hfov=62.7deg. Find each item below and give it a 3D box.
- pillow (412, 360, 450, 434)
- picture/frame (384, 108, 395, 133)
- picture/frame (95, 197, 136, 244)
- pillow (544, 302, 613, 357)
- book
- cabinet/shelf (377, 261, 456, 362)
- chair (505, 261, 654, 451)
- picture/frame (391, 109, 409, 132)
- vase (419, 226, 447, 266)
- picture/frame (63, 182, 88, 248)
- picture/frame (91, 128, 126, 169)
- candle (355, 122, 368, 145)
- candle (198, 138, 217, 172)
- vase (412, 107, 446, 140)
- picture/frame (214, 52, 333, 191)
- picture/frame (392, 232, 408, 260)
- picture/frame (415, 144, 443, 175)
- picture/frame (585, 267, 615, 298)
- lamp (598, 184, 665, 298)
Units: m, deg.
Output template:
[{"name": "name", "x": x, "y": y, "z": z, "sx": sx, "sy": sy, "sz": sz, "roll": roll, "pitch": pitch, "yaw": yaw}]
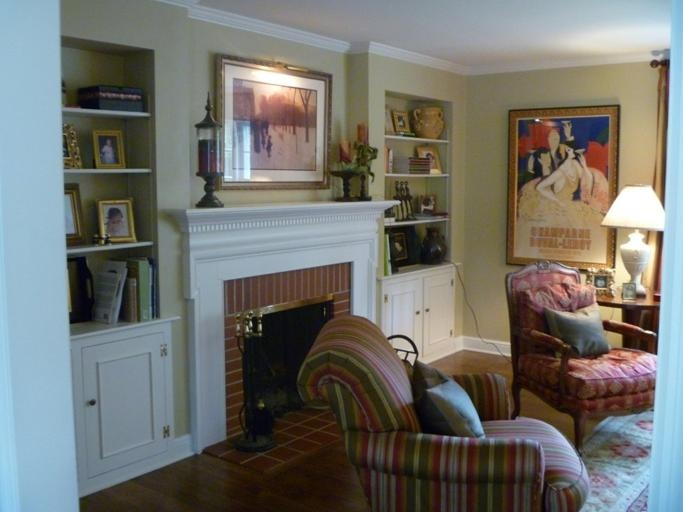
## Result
[{"name": "pillow", "x": 0.428, "y": 0.693, "z": 2.696, "sx": 0.099, "sy": 0.204, "sz": 0.296, "roll": -1, "pitch": 8, "yaw": 12}, {"name": "picture/frame", "x": 0.458, "y": -1.320, "z": 5.335, "sx": 0.022, "sy": 0.305, "sz": 0.263, "roll": -4, "pitch": 5, "yaw": 23}, {"name": "picture/frame", "x": -1.400, "y": -0.223, "z": 3.443, "sx": 0.025, "sy": 0.217, "sz": 0.253, "roll": -3, "pitch": 9, "yaw": 26}, {"name": "pillow", "x": 1.795, "y": 0.558, "z": 4.149, "sx": 0.454, "sy": 0.398, "sz": 0.215, "roll": -3, "pitch": -9, "yaw": -16}, {"name": "book", "x": -1.409, "y": 0.121, "z": 3.590, "sx": 0.338, "sy": 0.508, "sz": 0.489, "roll": -1, "pitch": 4, "yaw": -43}, {"name": "cabinet/shelf", "x": 0.903, "y": 0.648, "z": 5.754, "sx": 0.358, "sy": 0.962, "sz": 1.030, "roll": 20, "pitch": -28, "yaw": -37}, {"name": "chair", "x": 1.775, "y": 0.674, "z": 4.100, "sx": 0.832, "sy": 1.206, "sz": 0.926, "roll": -2, "pitch": 2, "yaw": -19}, {"name": "picture/frame", "x": 0.570, "y": -1.363, "z": 5.512, "sx": 0.022, "sy": 0.209, "sz": 0.237, "roll": -8, "pitch": 11, "yaw": 30}, {"name": "vase", "x": 0.963, "y": -0.135, "z": 5.840, "sx": 0.270, "sy": 0.390, "sz": 0.280, "roll": 10, "pitch": 16, "yaw": 42}, {"name": "picture/frame", "x": -1.550, "y": -0.254, "z": 3.254, "sx": 0.094, "sy": 0.361, "sz": 0.133, "roll": -3, "pitch": 7, "yaw": -26}, {"name": "picture/frame", "x": -1.422, "y": -0.666, "z": 3.400, "sx": 0.028, "sy": 0.299, "sz": 0.237, "roll": 0, "pitch": 7, "yaw": 38}, {"name": "candle", "x": 0.183, "y": -1.066, "z": 4.765, "sx": 0.111, "sy": 0.177, "sz": 0.250, "roll": 0, "pitch": 7, "yaw": 2}, {"name": "candle", "x": -0.868, "y": -0.665, "z": 3.640, "sx": 0.119, "sy": 0.221, "sz": 0.055, "roll": -1, "pitch": 7, "yaw": -13}, {"name": "vase", "x": 0.909, "y": -1.385, "z": 5.769, "sx": 0.348, "sy": 0.332, "sz": 0.298, "roll": -6, "pitch": 8, "yaw": -32}, {"name": "picture/frame", "x": -0.546, "y": -1.059, "z": 4.243, "sx": 0.051, "sy": 0.949, "sz": 1.165, "roll": 3, "pitch": 4, "yaw": 39}, {"name": "picture/frame", "x": 0.574, "y": -0.109, "z": 5.527, "sx": 0.030, "sy": 0.311, "sz": 0.262, "roll": -9, "pitch": -2, "yaw": 34}, {"name": "picture/frame", "x": 0.896, "y": -1.014, "z": 5.761, "sx": 0.029, "sy": 0.435, "sz": 0.354, "roll": -21, "pitch": -11, "yaw": 40}, {"name": "picture/frame", "x": 2.268, "y": 0.226, "z": 4.890, "sx": 0.214, "sy": 0.235, "sz": 0.060, "roll": -1, "pitch": -9, "yaw": 24}, {"name": "lamp", "x": 2.541, "y": -0.157, "z": 4.817, "sx": 0.553, "sy": 0.938, "sz": 0.573, "roll": 2, "pitch": 5, "yaw": 11}]
